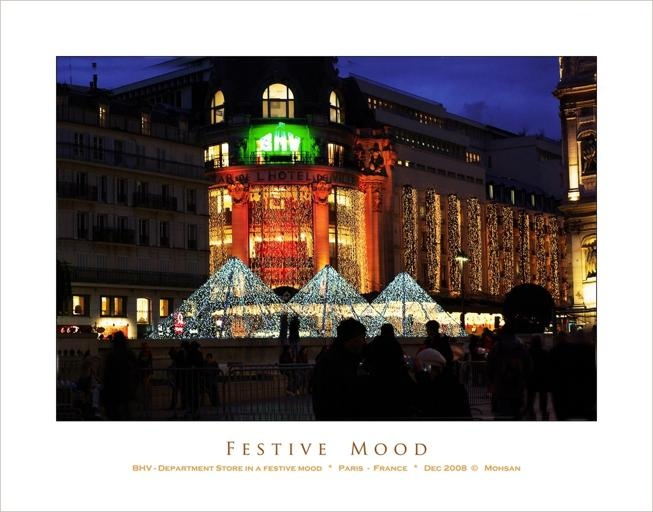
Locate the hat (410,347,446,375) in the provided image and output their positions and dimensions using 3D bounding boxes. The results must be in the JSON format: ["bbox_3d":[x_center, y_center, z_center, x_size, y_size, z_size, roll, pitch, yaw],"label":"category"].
[{"bbox_3d":[2.072,2.096,29.369,0.584,0.385,0.410,2,2,19],"label":"hat"}]
